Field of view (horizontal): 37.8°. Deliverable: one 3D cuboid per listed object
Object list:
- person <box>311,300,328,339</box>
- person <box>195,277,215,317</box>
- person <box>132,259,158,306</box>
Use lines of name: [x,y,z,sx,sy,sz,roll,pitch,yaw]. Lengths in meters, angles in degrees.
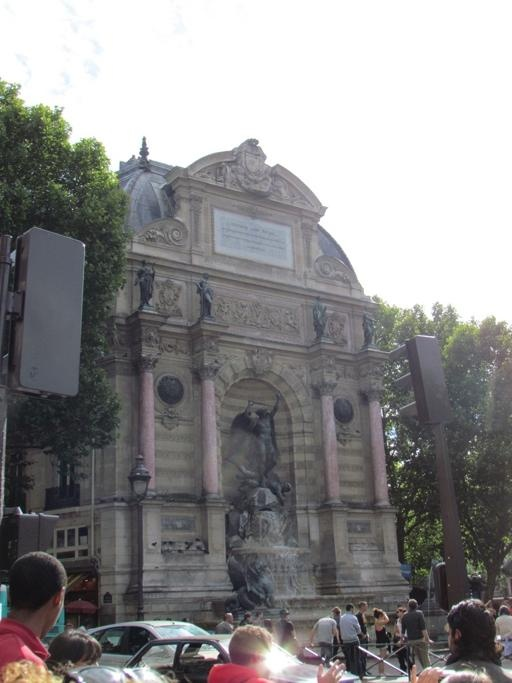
person: [2.782,-0.892,33.018,0.599,2.130,1.260,-4,-19,4]
person: [-2.008,-1.673,29.527,0.602,1.891,0.547,2,-19,-13]
person: [-4.254,-2.144,28.549,0.698,2.317,1.067,1,-19,-10]
